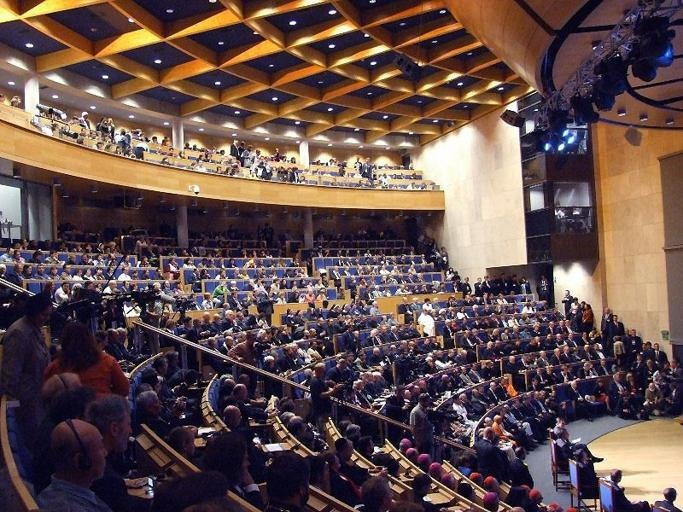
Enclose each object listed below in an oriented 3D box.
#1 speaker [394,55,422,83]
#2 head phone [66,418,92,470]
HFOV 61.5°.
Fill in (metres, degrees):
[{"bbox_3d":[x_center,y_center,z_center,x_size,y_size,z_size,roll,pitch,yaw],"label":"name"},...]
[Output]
[{"bbox_3d":[1.852,-5.203,15.558,0.599,0.730,0.684,-2,-5,21],"label":"speaker"},{"bbox_3d":[-1.656,1.182,3.580,0.178,0.290,0.066,-2,-5,27],"label":"head phone"}]
